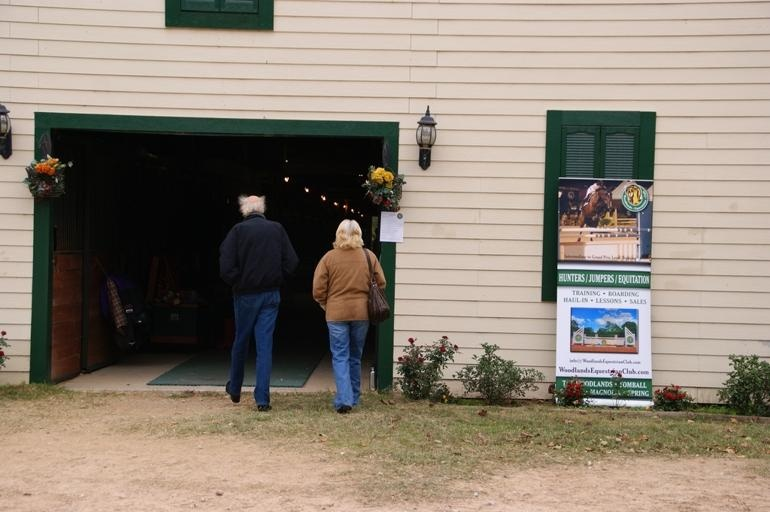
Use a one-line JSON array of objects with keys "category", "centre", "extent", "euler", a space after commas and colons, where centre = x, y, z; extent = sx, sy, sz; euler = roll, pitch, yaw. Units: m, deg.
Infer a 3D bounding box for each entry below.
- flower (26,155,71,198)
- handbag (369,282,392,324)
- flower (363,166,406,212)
[{"category": "flower", "centre": [-4.671, -1.098, 17.325], "extent": [0.593, 0.562, 0.346], "euler": [-2, 8, -20]}, {"category": "handbag", "centre": [-0.102, 0.588, 16.229], "extent": [0.250, 0.504, 0.293], "euler": [-2, 16, -11]}, {"category": "flower", "centre": [-0.050, -0.958, 17.304], "extent": [0.590, 0.554, 0.585], "euler": [19, -4, -18]}]
